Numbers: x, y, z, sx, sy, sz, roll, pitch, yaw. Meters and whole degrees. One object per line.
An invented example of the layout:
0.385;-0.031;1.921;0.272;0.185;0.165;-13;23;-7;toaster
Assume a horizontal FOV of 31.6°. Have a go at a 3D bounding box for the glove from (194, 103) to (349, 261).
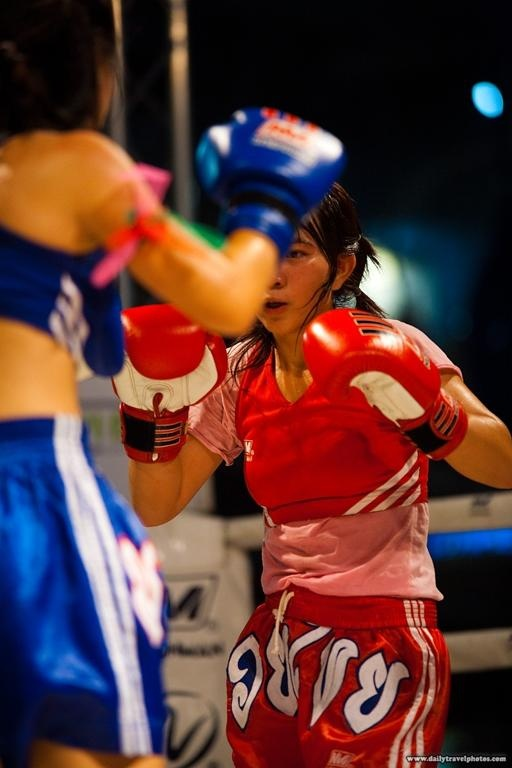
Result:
0.029;-0.324;1.434;0.230;0.257;0.118;3;-12;20;glove
